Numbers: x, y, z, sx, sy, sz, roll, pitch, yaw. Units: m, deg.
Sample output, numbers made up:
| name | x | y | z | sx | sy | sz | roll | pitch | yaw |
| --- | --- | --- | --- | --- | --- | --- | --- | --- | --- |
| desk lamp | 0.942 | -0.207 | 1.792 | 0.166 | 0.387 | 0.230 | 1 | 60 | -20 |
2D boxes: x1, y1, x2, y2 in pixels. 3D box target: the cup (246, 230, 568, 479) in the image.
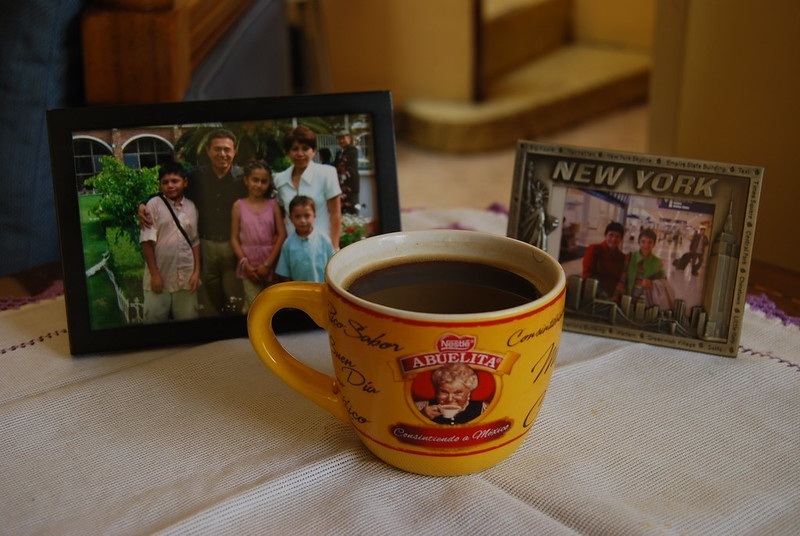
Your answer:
| name | x | y | z | sx | sy | sz | roll | pitch | yaw |
| --- | --- | --- | --- | --- | --- | --- | --- | --- | --- |
| cup | 0.027 | 0.066 | 0.493 | 0.200 | 0.137 | 0.215 | 1 | 15 | 0 |
